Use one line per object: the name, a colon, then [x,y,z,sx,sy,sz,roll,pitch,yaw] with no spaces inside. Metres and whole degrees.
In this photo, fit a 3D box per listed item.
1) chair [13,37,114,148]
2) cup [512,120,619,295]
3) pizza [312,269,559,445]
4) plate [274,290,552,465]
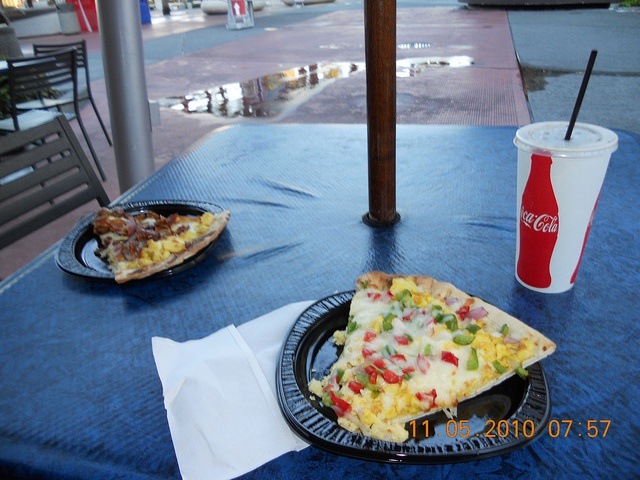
chair: [-2.303,-1.227,3.568,0.605,0.892,0.647,7,22,31]
cup: [0.411,-0.060,0.750,0.146,0.286,0.117,20,39,33]
pizza: [0.115,0.108,0.579,0.229,0.043,0.224,-23,36,-24]
plate: [0.107,0.210,0.571,0.365,0.046,0.243,14,38,25]
